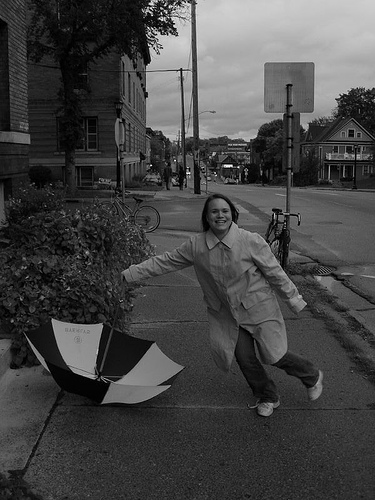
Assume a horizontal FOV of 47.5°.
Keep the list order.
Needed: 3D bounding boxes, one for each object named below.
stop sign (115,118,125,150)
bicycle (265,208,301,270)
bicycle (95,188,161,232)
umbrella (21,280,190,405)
[{"bbox_3d":[-2.374,-4.095,14.768,0.280,1.089,1.369,-1,6,-10],"label":"stop sign"},{"bbox_3d":[1.822,-0.325,8.822,0.507,0.986,1.392,29,18,31],"label":"bicycle"},{"bbox_3d":[-1.901,-1.266,13.564,1.944,1.587,1.255,2,40,-6],"label":"bicycle"},{"bbox_3d":[-0.553,0.721,2.982,0.884,0.492,1.011,23,6,5],"label":"umbrella"}]
